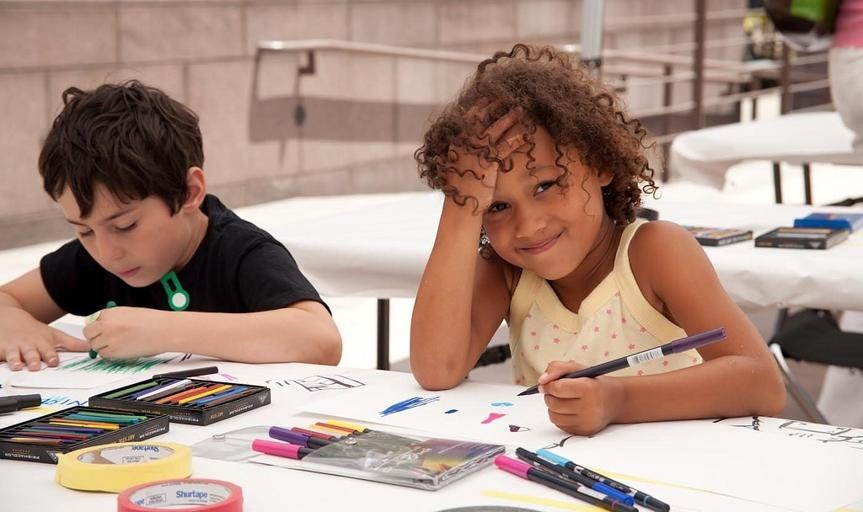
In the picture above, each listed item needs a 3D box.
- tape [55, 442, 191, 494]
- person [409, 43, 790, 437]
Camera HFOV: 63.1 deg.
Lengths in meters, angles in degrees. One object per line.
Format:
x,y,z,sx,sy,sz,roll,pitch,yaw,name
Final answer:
-0.423,0.298,1.012,0.173,0.033,0.155,0,-1,12,tape
0.323,-0.024,1.368,0.578,0.831,0.475,2,5,36,person
